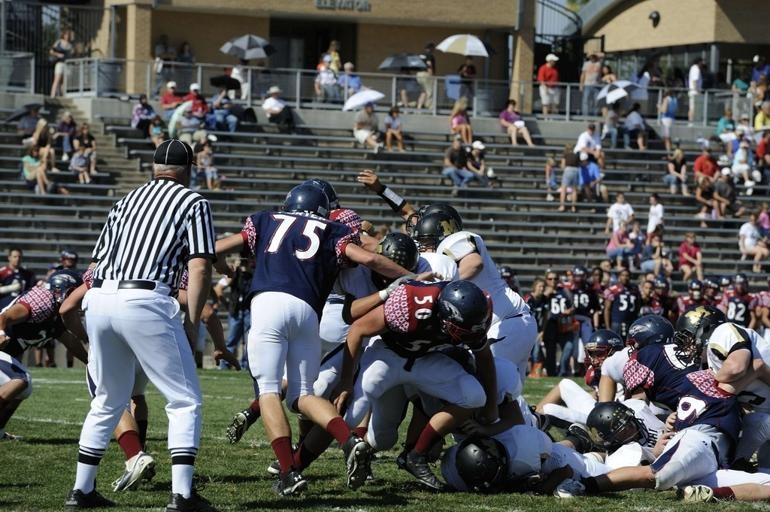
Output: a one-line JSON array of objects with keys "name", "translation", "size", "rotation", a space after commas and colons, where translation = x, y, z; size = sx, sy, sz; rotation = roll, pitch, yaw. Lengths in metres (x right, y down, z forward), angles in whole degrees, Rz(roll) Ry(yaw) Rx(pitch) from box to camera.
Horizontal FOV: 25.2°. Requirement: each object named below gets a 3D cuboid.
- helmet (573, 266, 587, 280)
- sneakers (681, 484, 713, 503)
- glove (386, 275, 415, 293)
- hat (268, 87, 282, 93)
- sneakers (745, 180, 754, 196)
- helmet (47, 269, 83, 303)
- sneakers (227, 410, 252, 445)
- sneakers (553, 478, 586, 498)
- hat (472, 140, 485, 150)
[{"name": "helmet", "translation": [3.774, 0.299, 33.252], "size": [0.250, 0.231, 0.253], "rotation": [4, 3, 5]}, {"name": "sneakers", "translation": [4.630, 3.483, 25.364], "size": [0.440, 0.245, 0.090], "rotation": [4, 3, 11]}, {"name": "glove", "translation": [0.235, 0.390, 25.401], "size": [0.395, 0.245, 0.080], "rotation": [3, 3, -14]}, {"name": "hat", "translation": [-2.424, -3.649, 37.768], "size": [0.184, 0.074, 0.166], "rotation": [-7, 1, 4]}, {"name": "sneakers", "translation": [8.162, -1.542, 38.391], "size": [0.193, 0.332, 0.144], "rotation": [2, -1, 1]}, {"name": "helmet", "translation": [-4.957, 0.402, 26.774], "size": [0.498, 0.482, 0.415], "rotation": [-22, 13, -24]}, {"name": "sneakers", "translation": [-2.154, 2.497, 25.711], "size": [0.286, 0.233, 0.640], "rotation": [-2, -40, -38]}, {"name": "sneakers", "translation": [2.757, 3.419, 25.451], "size": [0.363, 0.145, 0.241], "rotation": [-15, 49, -19]}, {"name": "hat", "translation": [2.053, -2.464, 37.699], "size": [0.181, 0.105, 0.283], "rotation": [13, 10, -23]}]
